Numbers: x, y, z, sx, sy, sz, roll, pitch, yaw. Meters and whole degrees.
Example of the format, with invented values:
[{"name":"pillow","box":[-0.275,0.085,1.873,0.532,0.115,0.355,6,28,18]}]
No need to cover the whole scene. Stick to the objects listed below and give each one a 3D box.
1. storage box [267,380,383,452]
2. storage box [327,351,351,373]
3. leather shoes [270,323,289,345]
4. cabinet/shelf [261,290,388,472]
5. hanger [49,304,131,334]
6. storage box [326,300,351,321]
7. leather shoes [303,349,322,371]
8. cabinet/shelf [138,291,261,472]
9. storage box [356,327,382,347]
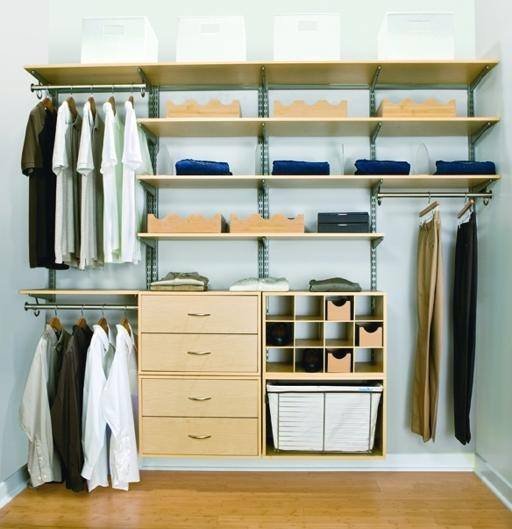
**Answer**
[{"name":"storage box","box":[0.388,0.828,4.133,0.460,0.349,0.389,0,-7,3]},{"name":"storage box","box":[0.459,0.540,4.046,0.098,0.097,0.113,-1,-4,1]},{"name":"leather shoes","box":[0.132,0.388,4.028,0.074,0.119,0.122,0,-13,-1]},{"name":"cabinet/shelf","box":[0.383,0.590,4.115,0.575,0.990,0.292,0,7,6]},{"name":"hanger","box":[-0.965,0.295,4.199,0.551,0.138,0.430,0,-6,-9]},{"name":"storage box","box":[0.455,0.262,3.989,0.097,0.096,0.109,-1,-4,2]},{"name":"leather shoes","box":[0.311,0.551,4.085,0.116,0.201,0.098,0,-13,4]},{"name":"cabinet/shelf","box":[-0.321,0.480,4.241,0.686,1.134,0.571,0,28,-5]},{"name":"storage box","box":[0.631,0.402,3.996,0.138,0.117,0.053,-2,-4,9]}]
